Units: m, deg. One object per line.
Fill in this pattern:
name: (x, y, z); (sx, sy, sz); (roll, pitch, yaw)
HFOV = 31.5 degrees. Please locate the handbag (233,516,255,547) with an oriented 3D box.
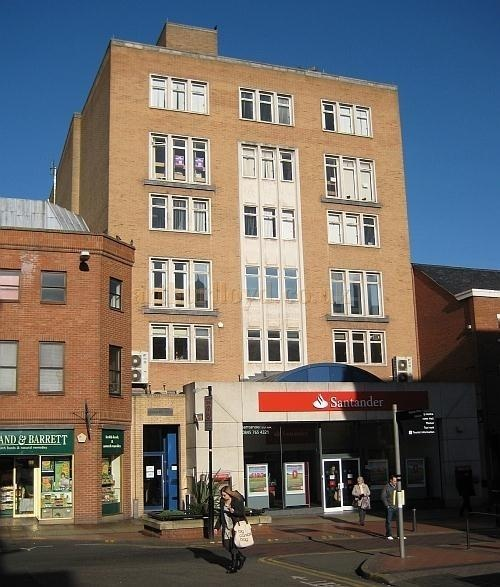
handbag: (-0.168, 5.612, 20.690); (0.419, 0.597, 0.290); (0, -16, -10)

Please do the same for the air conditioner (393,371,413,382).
air conditioner: (7.565, 4.271, 44.012); (0.919, 0.489, 0.457); (4, -15, -21)

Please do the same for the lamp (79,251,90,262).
lamp: (-6.376, -1.466, 34.318); (0.308, 0.188, 0.427); (4, -14, -16)

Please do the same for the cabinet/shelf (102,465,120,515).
cabinet/shelf: (-5.393, 7.545, 34.663); (0.408, 2.259, 1.185); (-7, -16, 11)

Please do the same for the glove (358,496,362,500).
glove: (3.924, 7.344, 31.826); (0.180, 0.144, 0.090); (-1, -2, 14)

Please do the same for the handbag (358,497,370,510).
handbag: (4.042, 7.475, 31.593); (0.389, 0.460, 0.526); (-3, -15, 1)
